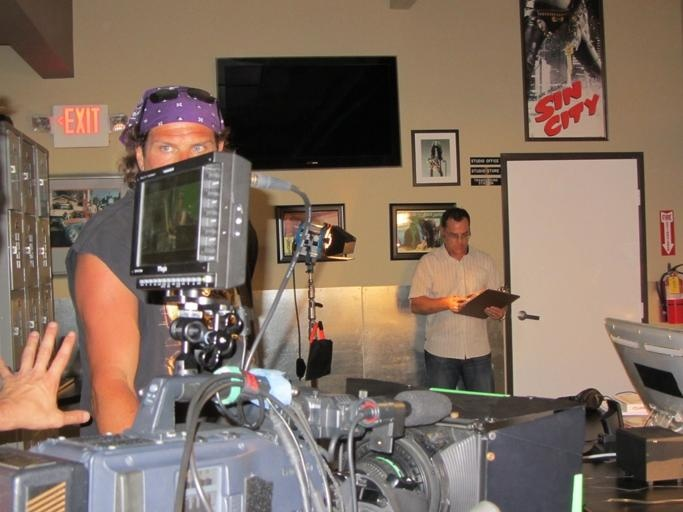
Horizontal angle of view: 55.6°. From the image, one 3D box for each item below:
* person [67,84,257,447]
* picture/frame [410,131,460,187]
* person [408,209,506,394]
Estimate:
[{"bbox_3d":[-0.498,-0.018,1.596,0.423,0.910,0.634,0,-2,6],"label":"person"},{"bbox_3d":[0.742,-0.772,5.200,0.403,0.503,0.023,0,0,0],"label":"picture/frame"},{"bbox_3d":[0.799,0.293,4.473,0.633,1.256,0.467,0,-2,8],"label":"person"}]
